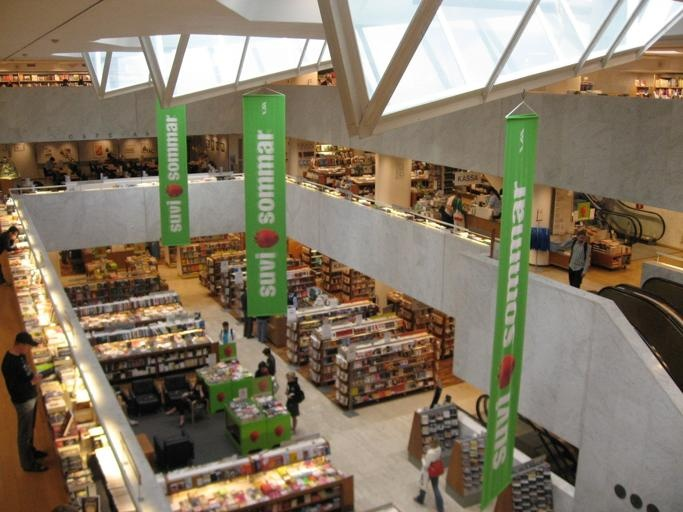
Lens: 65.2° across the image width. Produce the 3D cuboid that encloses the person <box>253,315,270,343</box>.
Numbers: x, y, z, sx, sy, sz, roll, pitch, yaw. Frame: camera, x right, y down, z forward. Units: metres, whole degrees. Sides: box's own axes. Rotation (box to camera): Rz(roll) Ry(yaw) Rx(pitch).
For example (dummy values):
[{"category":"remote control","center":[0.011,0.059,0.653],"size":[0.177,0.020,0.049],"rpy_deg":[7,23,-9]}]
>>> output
[{"category":"person","center":[-2.557,2.382,17.552],"size":[0.315,0.970,0.429],"rpy_deg":[12,23,42]}]

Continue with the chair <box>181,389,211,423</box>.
[{"category":"chair","center":[-3.694,3.754,13.408],"size":[0.635,0.889,0.762],"rpy_deg":[-7,19,-24]}]

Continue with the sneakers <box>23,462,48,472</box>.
[{"category":"sneakers","center":[-3.759,2.599,6.535],"size":[0.227,0.098,0.121],"rpy_deg":[-1,19,-10]}]

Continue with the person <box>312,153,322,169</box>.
[{"category":"person","center":[-1.162,-4.425,24.817],"size":[0.496,0.999,0.519],"rpy_deg":[2,5,-2]}]

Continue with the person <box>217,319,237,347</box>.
[{"category":"person","center":[-3.315,2.140,15.201],"size":[0.419,0.792,0.650],"rpy_deg":[-9,18,-15]}]

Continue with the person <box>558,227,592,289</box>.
[{"category":"person","center":[5.224,0.055,11.690],"size":[0.390,1.325,0.618],"rpy_deg":[4,19,24]}]
